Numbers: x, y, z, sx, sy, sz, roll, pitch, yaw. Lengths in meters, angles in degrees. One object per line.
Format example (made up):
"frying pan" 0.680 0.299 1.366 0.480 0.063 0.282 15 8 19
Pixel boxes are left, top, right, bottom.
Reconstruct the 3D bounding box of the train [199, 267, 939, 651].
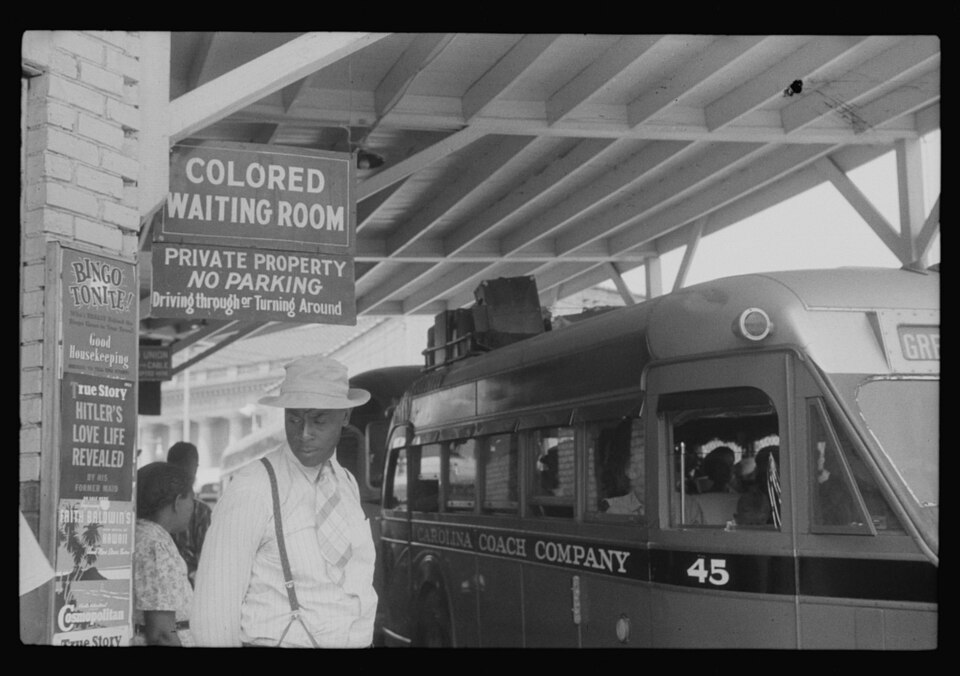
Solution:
"train" 1.349 1.138 10.903 1.047 3.757 4.737 18 -12 -42

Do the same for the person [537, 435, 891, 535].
"person" 1.954 1.128 10.075 2.314 0.843 0.390 3 -11 39

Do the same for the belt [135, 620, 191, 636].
"belt" -2.397 2.409 10.561 0.414 0.155 0.080 12 -9 -12
